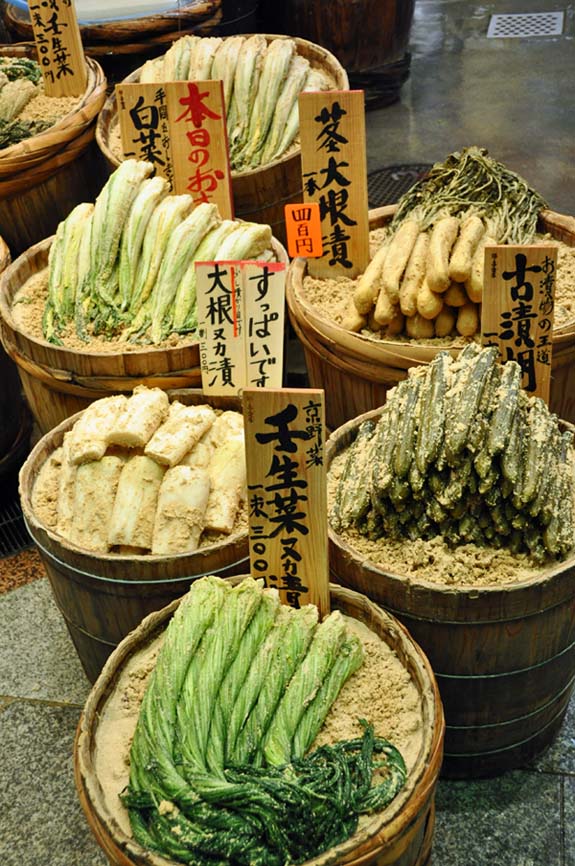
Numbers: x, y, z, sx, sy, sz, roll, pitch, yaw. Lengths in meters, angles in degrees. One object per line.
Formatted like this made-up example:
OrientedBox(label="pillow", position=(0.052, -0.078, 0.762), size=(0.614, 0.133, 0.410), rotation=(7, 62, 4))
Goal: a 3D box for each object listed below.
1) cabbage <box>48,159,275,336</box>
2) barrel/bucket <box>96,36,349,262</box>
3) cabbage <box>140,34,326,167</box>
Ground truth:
OrientedBox(label="cabbage", position=(-0.636, -0.811, 3.432), size=(1.028, 0.739, 0.883), rotation=(-11, 44, -5))
OrientedBox(label="barrel/bucket", position=(-0.411, -1.802, 5.008), size=(1.546, 1.255, 1.689), rotation=(-2, 39, 2))
OrientedBox(label="cabbage", position=(-0.251, -2.313, 4.733), size=(1.227, 0.405, 1.219), rotation=(-17, 46, -14))
